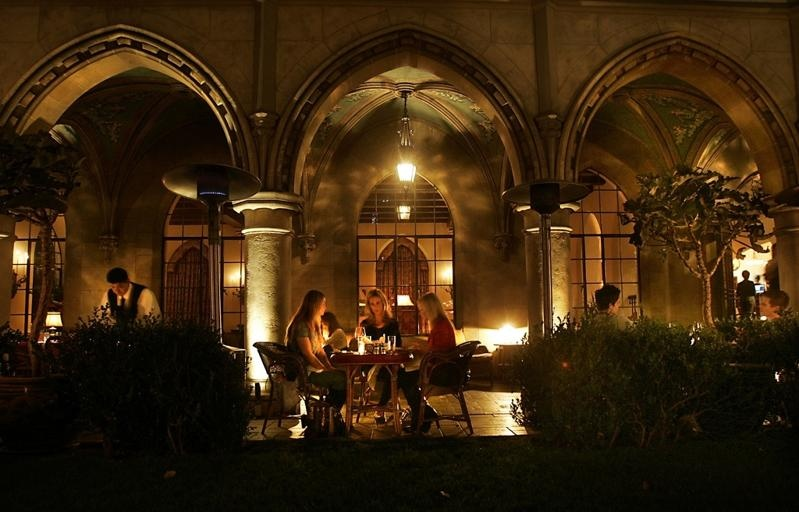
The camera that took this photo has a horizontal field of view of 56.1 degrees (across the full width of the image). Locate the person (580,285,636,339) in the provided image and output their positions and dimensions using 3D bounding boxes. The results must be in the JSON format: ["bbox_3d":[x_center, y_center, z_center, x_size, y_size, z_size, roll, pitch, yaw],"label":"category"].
[{"bbox_3d":[2.948,0.751,10.304,0.475,0.692,0.873,-4,3,-27],"label":"person"}]

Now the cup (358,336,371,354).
[{"bbox_3d":[-0.467,1.180,10.025,0.217,0.208,0.183,1,-19,-4],"label":"cup"}]

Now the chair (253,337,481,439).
[{"bbox_3d":[-0.448,1.786,10.104,2.923,1.208,1.702,0,-12,0],"label":"chair"}]
